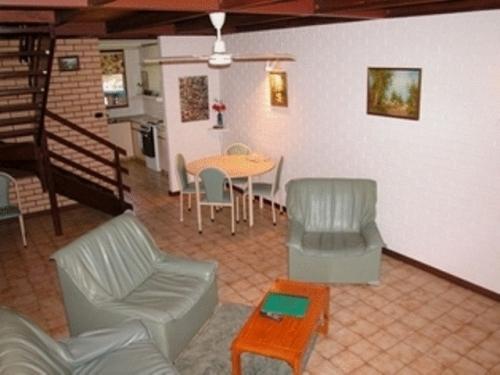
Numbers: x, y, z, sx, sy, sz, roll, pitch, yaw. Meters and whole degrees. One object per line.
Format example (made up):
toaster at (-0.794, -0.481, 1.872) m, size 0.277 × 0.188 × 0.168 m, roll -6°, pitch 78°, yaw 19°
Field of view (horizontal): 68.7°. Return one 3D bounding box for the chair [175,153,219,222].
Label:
chair at (-0.920, 0.034, 6.421) m, size 0.855 × 1.432 × 0.730 m, roll 4°, pitch 26°, yaw 4°

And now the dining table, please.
dining table at (-0.353, -0.123, 6.482) m, size 1.364 × 0.829 × 1.341 m, roll -18°, pitch 27°, yaw -37°

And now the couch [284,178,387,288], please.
couch at (1.114, 0.621, 4.925) m, size 1.570 × 1.405 × 1.240 m, roll 0°, pitch 19°, yaw 6°

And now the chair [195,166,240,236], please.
chair at (-0.541, 0.233, 6.111) m, size 0.714 × 1.347 × 0.797 m, roll 5°, pitch 36°, yaw 6°

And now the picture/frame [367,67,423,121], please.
picture/frame at (1.834, -1.209, 4.669) m, size 0.028 × 0.625 × 0.801 m, roll -21°, pitch 27°, yaw -26°

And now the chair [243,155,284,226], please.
chair at (0.260, 0.045, 6.419) m, size 0.790 × 1.378 × 0.736 m, roll 8°, pitch 23°, yaw 12°

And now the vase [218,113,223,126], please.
vase at (-0.621, -1.466, 7.786) m, size 0.126 × 0.264 × 0.213 m, roll -1°, pitch 15°, yaw -5°

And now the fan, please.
fan at (-0.421, -2.285, 5.616) m, size 1.675 × 0.650 × 1.789 m, roll 8°, pitch 15°, yaw 38°

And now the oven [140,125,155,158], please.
oven at (-2.554, -1.190, 9.193) m, size 0.485 × 0.715 × 0.706 m, roll -4°, pitch 15°, yaw -23°

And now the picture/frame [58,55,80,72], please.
picture/frame at (-3.247, -2.232, 6.547) m, size 0.308 × 0.233 × 0.016 m, roll -13°, pitch 27°, yaw -35°

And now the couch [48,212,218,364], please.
couch at (-1.121, 1.005, 4.005) m, size 1.437 × 1.377 × 1.466 m, roll 4°, pitch 20°, yaw 18°

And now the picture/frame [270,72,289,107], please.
picture/frame at (0.526, -1.730, 6.340) m, size 0.048 × 0.661 × 0.563 m, roll -12°, pitch 16°, yaw -32°
